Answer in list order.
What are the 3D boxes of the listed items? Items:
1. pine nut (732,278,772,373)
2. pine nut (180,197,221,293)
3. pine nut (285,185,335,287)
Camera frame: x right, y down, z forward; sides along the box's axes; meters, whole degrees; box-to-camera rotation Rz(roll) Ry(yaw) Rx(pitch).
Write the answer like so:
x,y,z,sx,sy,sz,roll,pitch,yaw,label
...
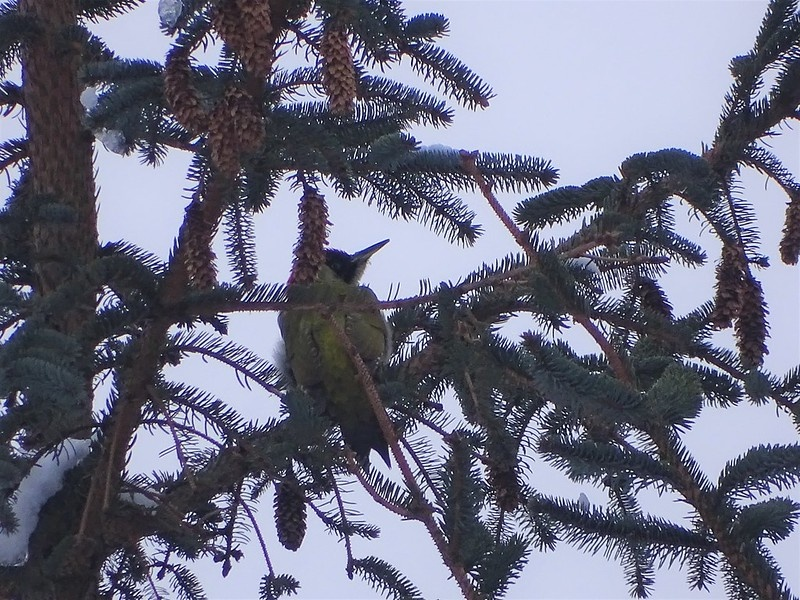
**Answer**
x,y,z,sx,sy,sz,roll,pitch,yaw,label
1.754,0.078,10.196,0.162,0.158,0.545,1,-83,44,pine nut
-1.009,-0.252,10.053,0.156,0.383,0.451,1,-50,0,pine nut
-0.454,-0.303,9.915,0.149,0.378,0.338,7,-50,-6,pine nut
